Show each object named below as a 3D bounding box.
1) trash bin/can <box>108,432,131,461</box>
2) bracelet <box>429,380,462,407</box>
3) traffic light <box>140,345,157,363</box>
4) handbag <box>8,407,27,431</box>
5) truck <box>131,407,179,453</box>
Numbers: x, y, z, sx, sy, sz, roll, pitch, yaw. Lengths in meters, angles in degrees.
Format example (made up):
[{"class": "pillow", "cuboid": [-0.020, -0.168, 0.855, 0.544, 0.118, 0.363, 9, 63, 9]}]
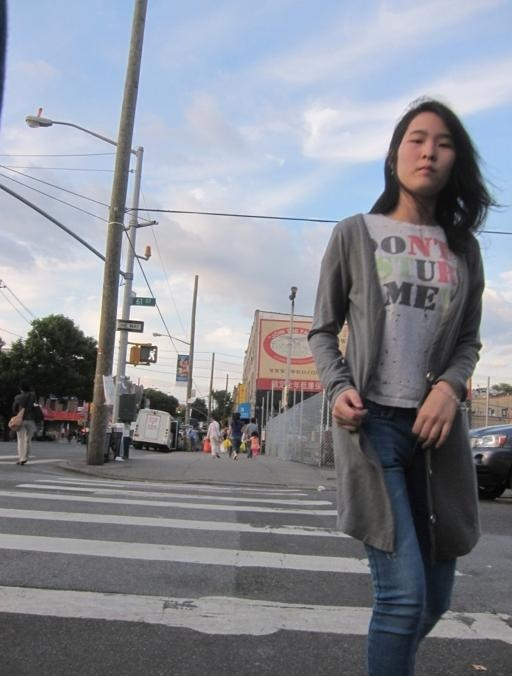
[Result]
[{"class": "trash bin/can", "cuboid": [-3.707, 2.910, 15.283, 0.477, 0.847, 0.898, -1, -7, 13]}, {"class": "bracelet", "cuboid": [0.523, 0.162, 1.555, 0.062, 0.084, 0.034, 28, -47, -3]}, {"class": "traffic light", "cuboid": [-3.538, 0.544, 18.716, 0.585, 0.642, 0.332, 8, -8, -31]}, {"class": "handbag", "cuboid": [-5.158, 1.782, 12.160, 0.173, 0.439, 0.326, 14, 14, -3]}, {"class": "truck", "cuboid": [-5.223, 5.075, 30.996, 1.799, 1.587, 2.974, 0, -7, 8]}]
